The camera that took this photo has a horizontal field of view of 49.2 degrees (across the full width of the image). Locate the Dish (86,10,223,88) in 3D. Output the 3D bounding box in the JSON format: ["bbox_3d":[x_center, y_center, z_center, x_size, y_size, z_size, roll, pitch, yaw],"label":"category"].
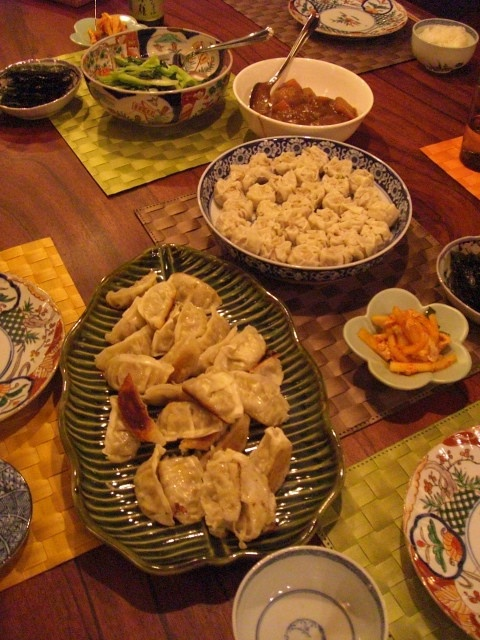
[{"bbox_3d":[-0.442,-1.278,2.561,0.556,0.141,0.542,32,53,24],"label":"Dish"}]

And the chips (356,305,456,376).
[{"bbox_3d":[0.495,0.053,1.500,0.215,0.078,0.218,-8,52,1],"label":"chips"}]

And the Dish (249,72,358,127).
[{"bbox_3d":[0.258,-0.961,2.324,0.485,0.070,0.273,24,54,18],"label":"Dish"}]
